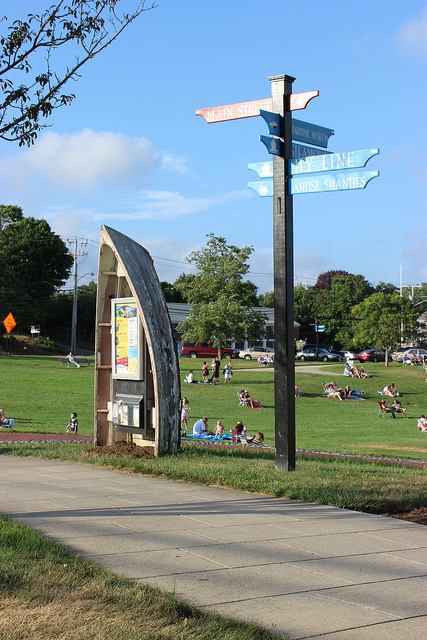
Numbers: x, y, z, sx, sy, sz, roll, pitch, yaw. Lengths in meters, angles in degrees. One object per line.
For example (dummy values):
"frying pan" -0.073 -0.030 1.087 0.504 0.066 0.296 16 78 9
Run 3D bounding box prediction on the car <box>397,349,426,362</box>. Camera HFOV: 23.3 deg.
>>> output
"car" 14.745 2.627 77.590 2.034 0.711 0.925 -4 6 -11

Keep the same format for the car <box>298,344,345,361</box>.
"car" 8.315 2.721 80.389 3.447 1.184 1.597 -1 1 12

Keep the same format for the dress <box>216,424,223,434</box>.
"dress" 0.154 2.727 25.785 0.205 0.278 0.149 0 -7 10

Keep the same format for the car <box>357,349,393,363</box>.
"car" 11.433 2.635 74.769 1.963 0.654 0.892 -3 4 -36

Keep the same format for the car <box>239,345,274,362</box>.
"car" 3.251 2.601 78.432 2.547 0.852 1.187 -2 0 13

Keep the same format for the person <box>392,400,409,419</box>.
"person" 6.456 3.106 35.850 0.574 0.602 1.209 3 0 11

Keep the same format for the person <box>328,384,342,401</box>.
"person" 5.021 2.986 43.032 0.534 0.943 0.426 -4 -3 20

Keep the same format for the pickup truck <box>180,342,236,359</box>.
"pickup truck" -0.397 2.417 74.012 3.533 1.352 1.516 -1 3 -7

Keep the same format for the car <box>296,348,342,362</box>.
"car" 7.686 2.624 76.962 1.728 0.999 3.779 3 0 -36

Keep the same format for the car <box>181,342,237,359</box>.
"car" -0.444 2.395 73.936 3.488 1.274 1.484 -1 3 -6

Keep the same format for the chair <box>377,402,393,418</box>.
"chair" 5.910 3.181 36.652 0.510 0.680 0.465 -4 -2 25

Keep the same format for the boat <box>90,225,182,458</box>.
"boat" -1.213 0.311 16.255 1.148 3.548 2.444 3 0 -22
